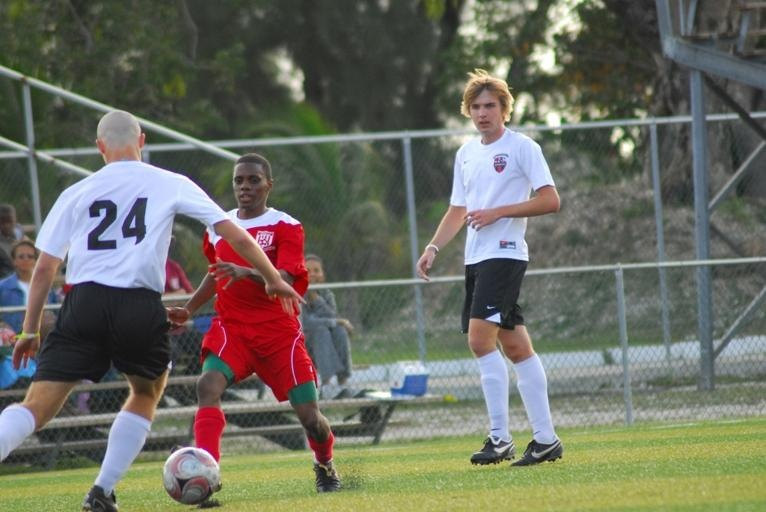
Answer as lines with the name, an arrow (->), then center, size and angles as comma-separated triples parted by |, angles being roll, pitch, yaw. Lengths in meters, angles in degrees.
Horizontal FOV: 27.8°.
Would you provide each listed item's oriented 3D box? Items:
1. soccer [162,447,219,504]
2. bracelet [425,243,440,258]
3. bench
soccer -> -1.973, 2.326, 16.363 | 0.607, 0.566, 0.585 | 16, -8, 0
bracelet -> 0.596, -0.086, 17.486 | 0.138, 0.065, 0.134 | 18, -26, 16
bench -> -1.218, 2.269, 20.093 | 4.101, 1.106, 0.817 | 1, 2, -9
